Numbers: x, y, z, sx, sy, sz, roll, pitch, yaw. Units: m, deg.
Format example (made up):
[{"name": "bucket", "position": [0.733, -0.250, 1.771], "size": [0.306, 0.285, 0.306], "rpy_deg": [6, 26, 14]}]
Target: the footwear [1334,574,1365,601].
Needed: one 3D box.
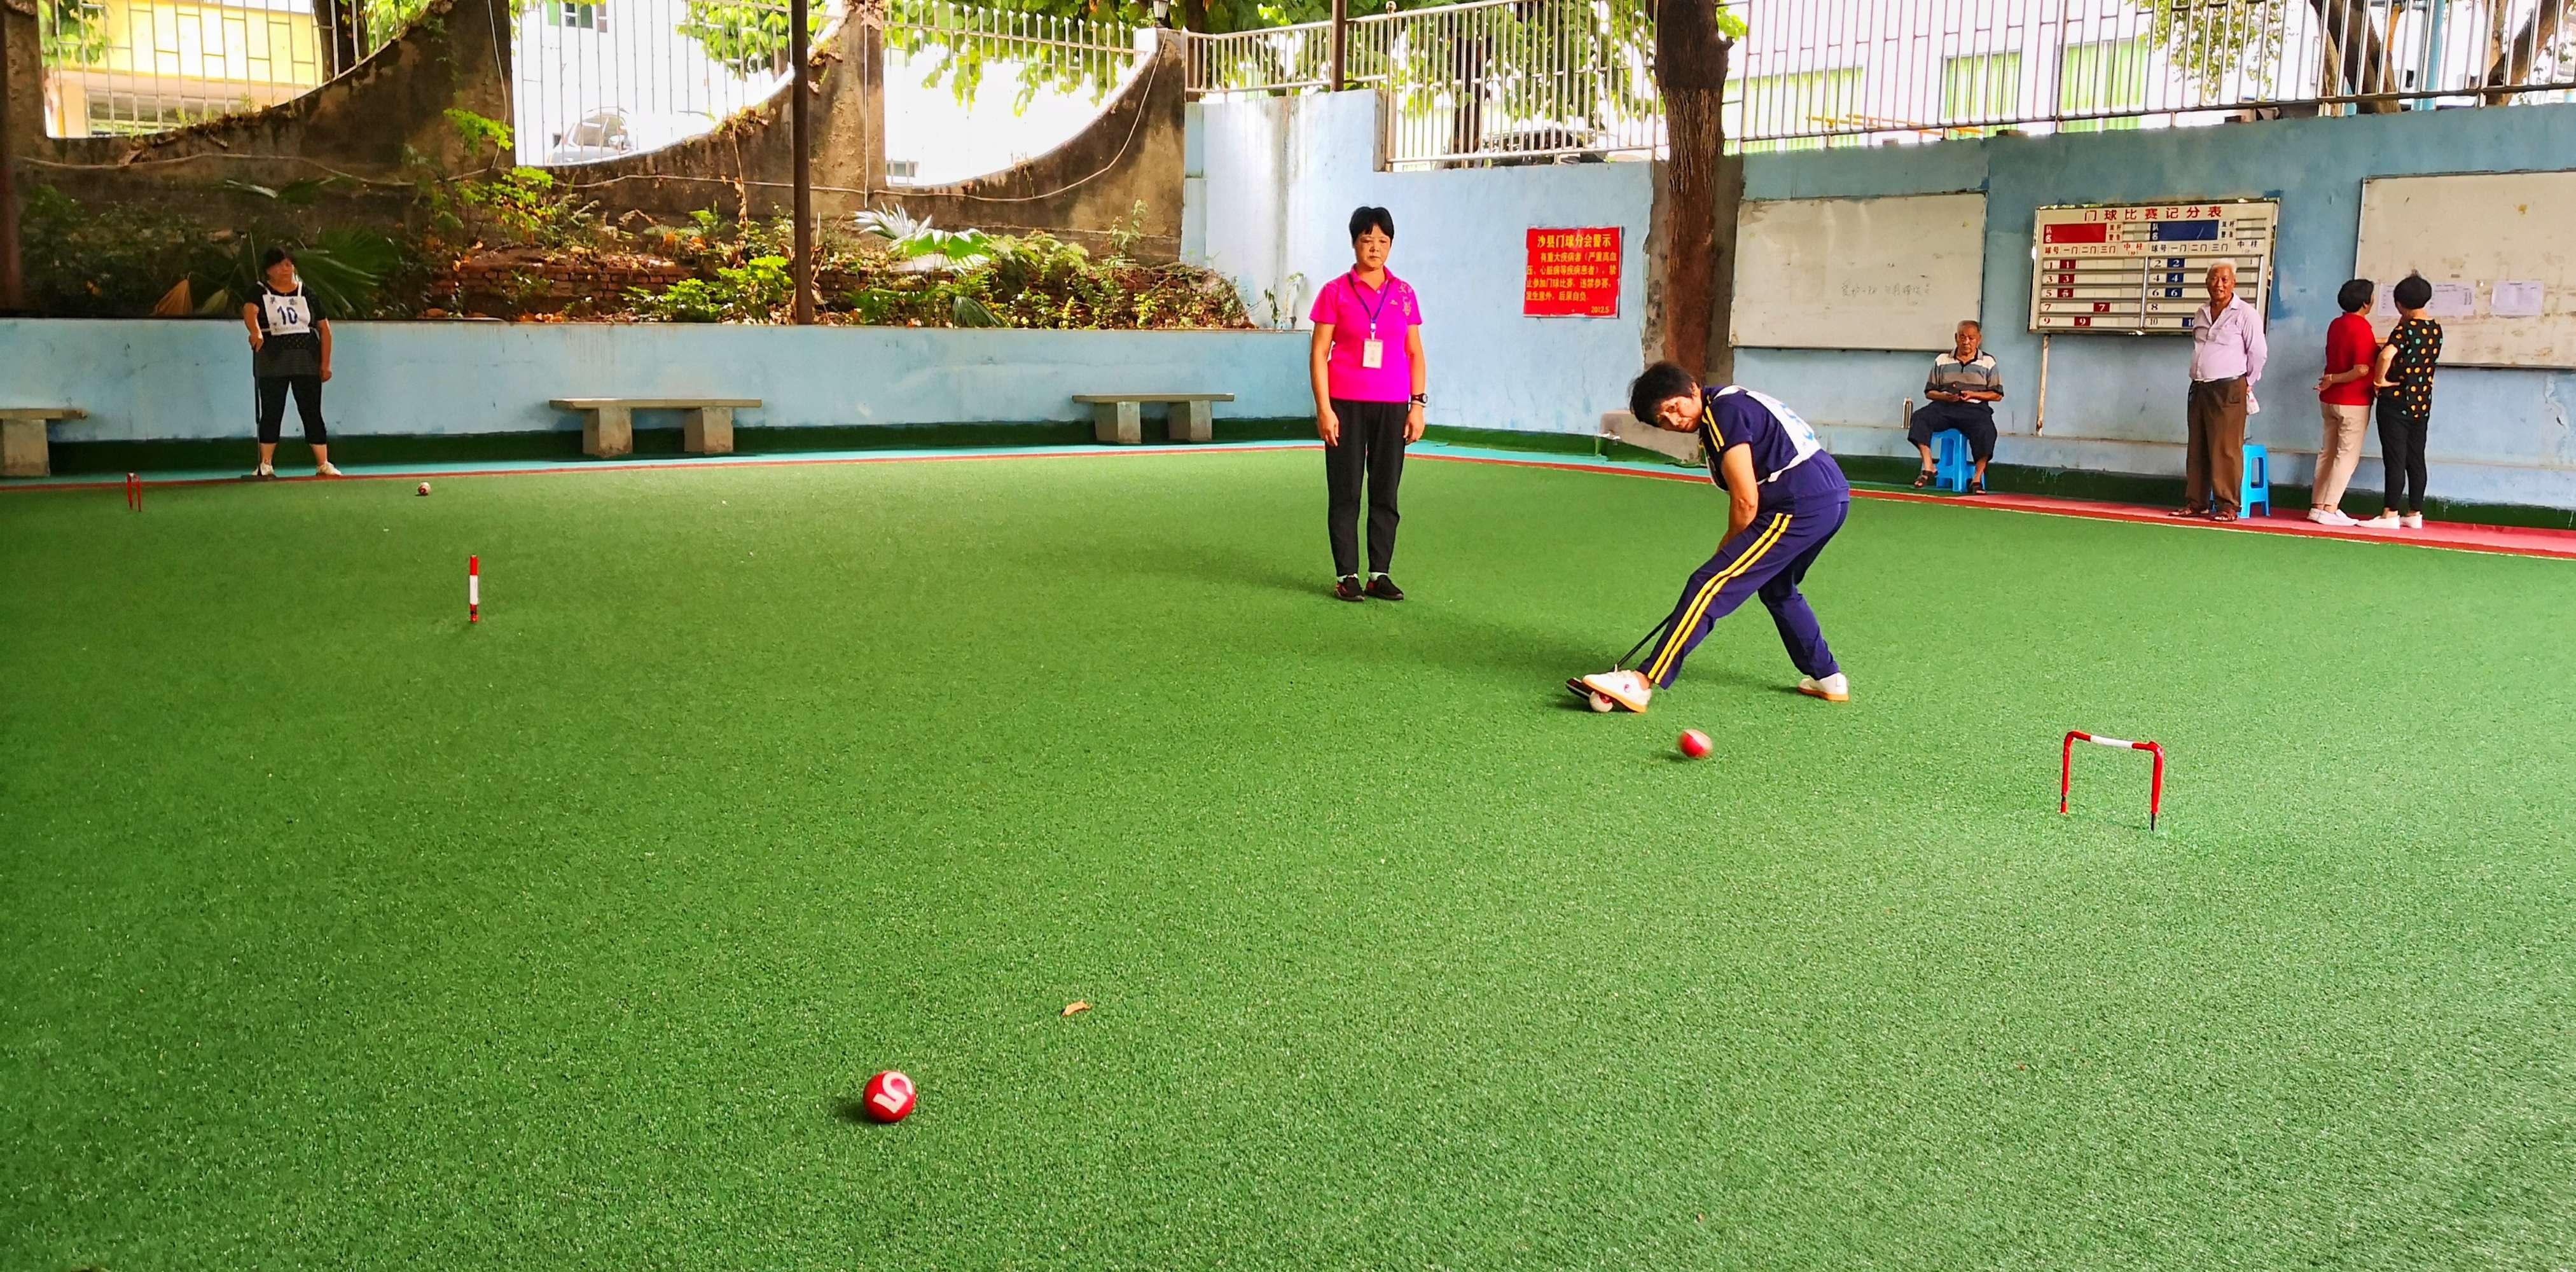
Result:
[{"name": "footwear", "position": [0.377, -0.312, 10.183], "size": [0.111, 0.095, 0.218], "rpy_deg": [-3, 5, -23]}]

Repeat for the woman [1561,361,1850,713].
[{"name": "woman", "position": [2.220, -0.496, 8.200], "size": [1.361, 1.708, 0.306], "rpy_deg": [-1, 10, -8]}]

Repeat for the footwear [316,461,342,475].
[{"name": "footwear", "position": [-8.417, -1.487, 14.397], "size": [0.290, 0.115, 0.160], "rpy_deg": [8, 12, 37]}]

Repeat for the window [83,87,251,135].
[{"name": "window", "position": [-11.077, -5.187, 16.214], "size": [1.280, 0.439, 0.206], "rpy_deg": [-6, 12, -32]}]

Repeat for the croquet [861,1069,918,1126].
[{"name": "croquet", "position": [-1.371, 1.579, 5.632], "size": [0.178, 0.142, 0.117], "rpy_deg": [-2, 10, -13]}]

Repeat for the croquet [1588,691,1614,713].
[{"name": "croquet", "position": [1.562, 0.317, 8.221], "size": [0.112, 0.036, 0.107], "rpy_deg": [21, -6, -25]}]

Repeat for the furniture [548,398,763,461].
[{"name": "furniture", "position": [-6.169, -2.072, 15.988], "size": [1.745, 0.534, 0.372], "rpy_deg": [-3, 11, -20]}]

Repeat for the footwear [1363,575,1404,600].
[{"name": "footwear", "position": [0.591, -0.318, 10.175], "size": [0.283, 0.135, 0.121], "rpy_deg": [3, 10, 19]}]

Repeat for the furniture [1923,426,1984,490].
[{"name": "furniture", "position": [6.174, -1.678, 15.271], "size": [0.530, 0.622, 0.527], "rpy_deg": [6, 14, 44]}]

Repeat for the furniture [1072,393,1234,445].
[{"name": "furniture", "position": [-1.522, -2.476, 18.327], "size": [1.624, 0.524, 0.646], "rpy_deg": [-7, 12, -37]}]

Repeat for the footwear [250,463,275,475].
[{"name": "footwear", "position": [-8.884, -1.474, 14.228], "size": [0.120, 0.139, 0.324], "rpy_deg": [-6, 9, -39]}]

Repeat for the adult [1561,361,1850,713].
[{"name": "adult", "position": [2.227, -0.495, 8.194], "size": [1.353, 1.708, 0.311], "rpy_deg": [-2, 10, -10]}]

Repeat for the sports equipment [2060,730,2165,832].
[{"name": "sports equipment", "position": [3.694, 0.665, 7.373], "size": [0.447, 0.388, 0.060], "rpy_deg": [3, -2, -7]}]

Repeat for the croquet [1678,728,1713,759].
[{"name": "croquet", "position": [1.918, 0.501, 7.727], "size": [0.130, 0.081, 0.146], "rpy_deg": [11, -1, 33]}]
